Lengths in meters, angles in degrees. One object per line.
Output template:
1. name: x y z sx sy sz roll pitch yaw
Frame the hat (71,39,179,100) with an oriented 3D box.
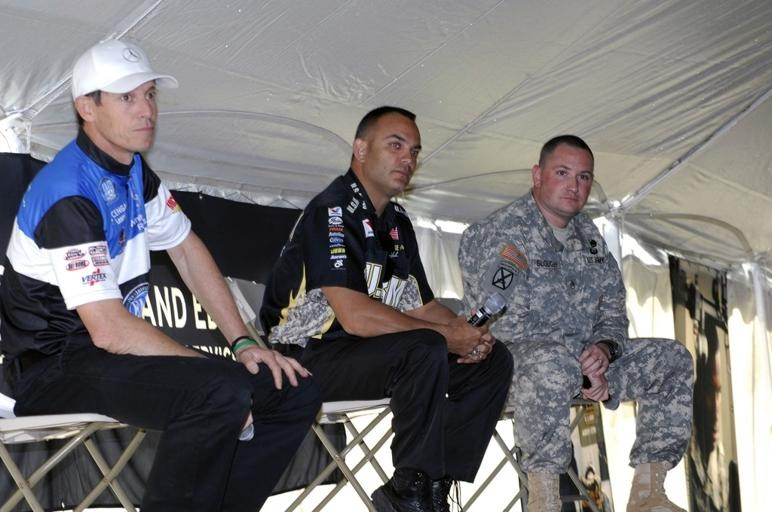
1. hat: -1.296 -0.881 4.124 0.375 0.220 0.288 -12 7 31

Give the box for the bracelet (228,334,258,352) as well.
1. bracelet: -0.711 0.435 4.223 0.100 0.042 0.087 -6 -32 -33

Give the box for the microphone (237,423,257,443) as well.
1. microphone: -0.653 0.824 3.973 0.050 0.093 0.094 3 -8 24

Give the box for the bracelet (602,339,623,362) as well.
1. bracelet: 1.388 0.554 5.157 0.137 0.103 0.131 -6 6 -19
